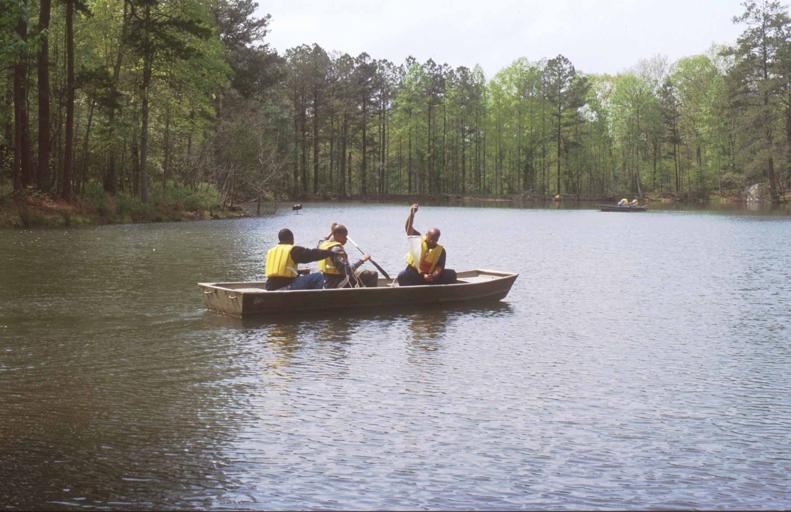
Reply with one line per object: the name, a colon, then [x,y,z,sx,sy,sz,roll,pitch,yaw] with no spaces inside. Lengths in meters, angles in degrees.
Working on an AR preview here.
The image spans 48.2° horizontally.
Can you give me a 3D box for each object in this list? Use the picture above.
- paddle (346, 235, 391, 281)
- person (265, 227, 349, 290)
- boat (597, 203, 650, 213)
paddle: [-0.933,0.076,30.844,0.112,2.543,0.262,-46,6,16]
person: [-2.524,0.199,23.143,1.655,1.348,0.897,0,3,-13]
boat: [20.187,-4.143,77.845,2.097,0.644,4.561,-1,2,-35]
